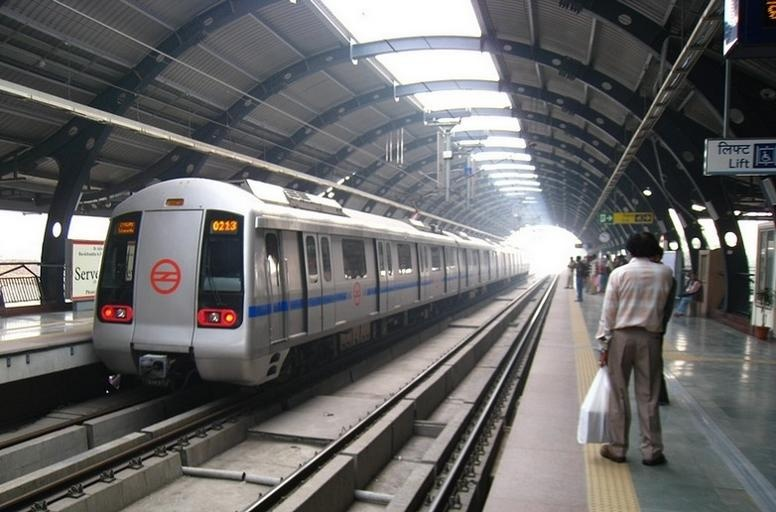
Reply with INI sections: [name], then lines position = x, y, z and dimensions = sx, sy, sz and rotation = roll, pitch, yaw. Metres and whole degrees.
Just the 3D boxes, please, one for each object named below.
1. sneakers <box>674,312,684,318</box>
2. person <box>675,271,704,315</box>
[sneakers]
position = 11.058, 2.261, 18.713
dimensions = 0.136, 0.145, 0.373
rotation = -8, -12, 6
[person]
position = 11.403, 1.478, 18.534
dimensions = 0.941, 1.455, 0.645
rotation = -3, 0, 18
